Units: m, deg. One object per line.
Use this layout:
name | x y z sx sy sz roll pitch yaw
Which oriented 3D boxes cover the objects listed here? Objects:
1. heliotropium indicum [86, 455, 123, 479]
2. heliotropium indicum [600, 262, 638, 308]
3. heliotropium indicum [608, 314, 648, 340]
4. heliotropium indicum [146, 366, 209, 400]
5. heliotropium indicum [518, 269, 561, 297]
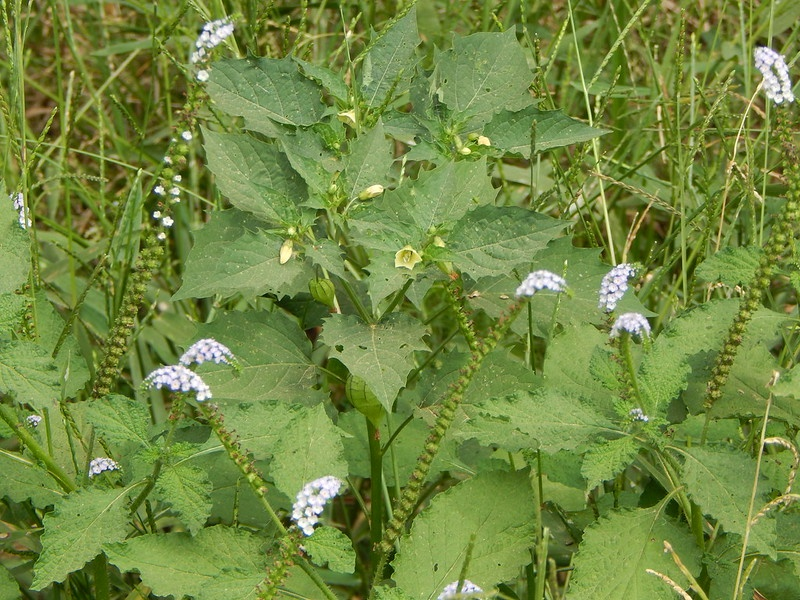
heliotropium indicum | -0.753 0.413 2.403 0.056 0.061 0.025 2 93 22
heliotropium indicum | 0.529 -0.035 2.313 0.054 0.141 0.069 -20 79 6
heliotropium indicum | 0.490 0.056 2.066 0.062 0.068 0.029 -5 82 25
heliotropium indicum | -0.469 0.199 2.030 0.097 0.098 0.040 31 112 36
heliotropium indicum | 0.318 -0.036 2.142 0.060 0.078 0.035 -1 84 4
